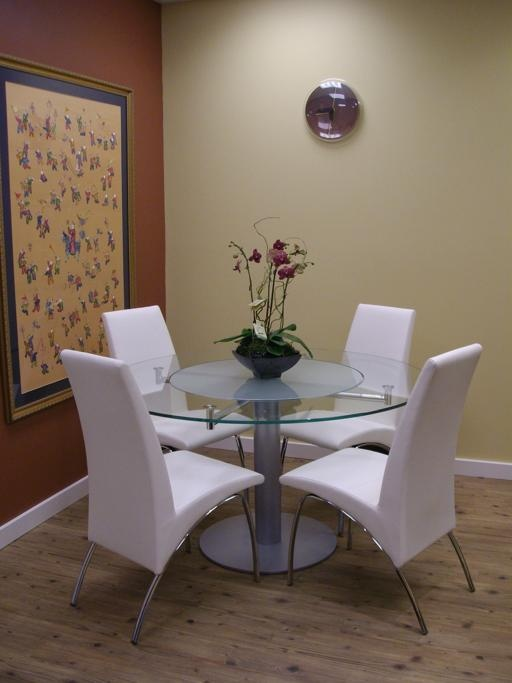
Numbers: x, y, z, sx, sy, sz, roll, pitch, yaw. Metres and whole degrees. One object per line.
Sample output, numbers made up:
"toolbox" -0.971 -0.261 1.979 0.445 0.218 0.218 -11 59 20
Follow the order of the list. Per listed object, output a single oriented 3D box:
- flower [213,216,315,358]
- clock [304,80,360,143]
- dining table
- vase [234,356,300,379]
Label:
"flower" 0.036 -0.135 2.252 0.377 0.404 0.398 -5 4 -13
"clock" 0.429 -1.273 3.228 0.363 0.374 0.042 3 18 15
"dining table" 0.013 0.463 2.329 0.846 0.566 0.822 0 4 -1
"vase" 0.051 0.088 2.148 0.150 0.055 0.120 -2 6 -11
